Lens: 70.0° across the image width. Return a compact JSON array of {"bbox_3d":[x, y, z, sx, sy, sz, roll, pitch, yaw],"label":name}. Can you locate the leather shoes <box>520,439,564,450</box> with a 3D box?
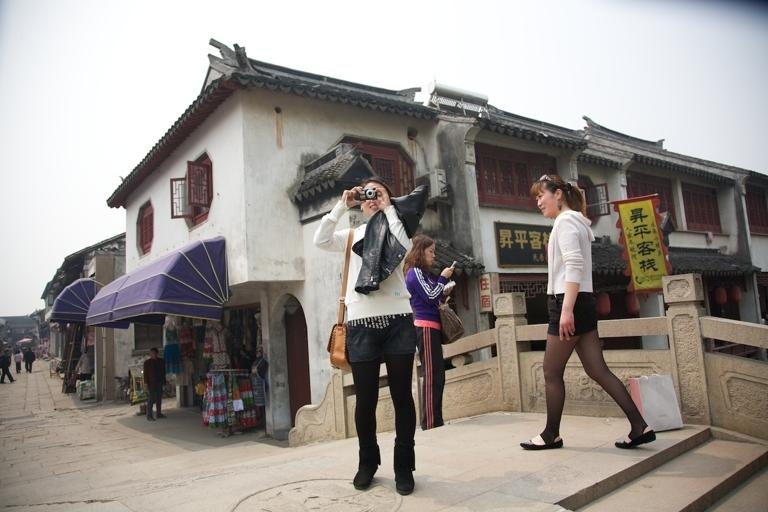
[{"bbox_3d":[1.989,2.381,6.893,0.499,0.154,0.188,4,-19,4],"label":"leather shoes"}]

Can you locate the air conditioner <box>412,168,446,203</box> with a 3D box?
[{"bbox_3d":[1.132,-1.689,13.610,0.380,0.723,0.804,4,-13,-39],"label":"air conditioner"}]

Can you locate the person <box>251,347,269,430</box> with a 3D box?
[{"bbox_3d":[-3.161,3.430,14.113,0.422,2.082,1.361,-4,1,-13],"label":"person"}]

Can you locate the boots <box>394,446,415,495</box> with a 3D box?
[{"bbox_3d":[0.233,2.390,6.132,0.228,0.461,0.158,-4,1,-3],"label":"boots"}]

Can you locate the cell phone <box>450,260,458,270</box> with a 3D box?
[{"bbox_3d":[1.347,0.172,10.534,0.168,0.044,0.183,-26,9,31],"label":"cell phone"}]

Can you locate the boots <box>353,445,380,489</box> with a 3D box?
[{"bbox_3d":[-0.202,2.390,6.324,0.212,0.424,0.627,-5,-3,16],"label":"boots"}]
